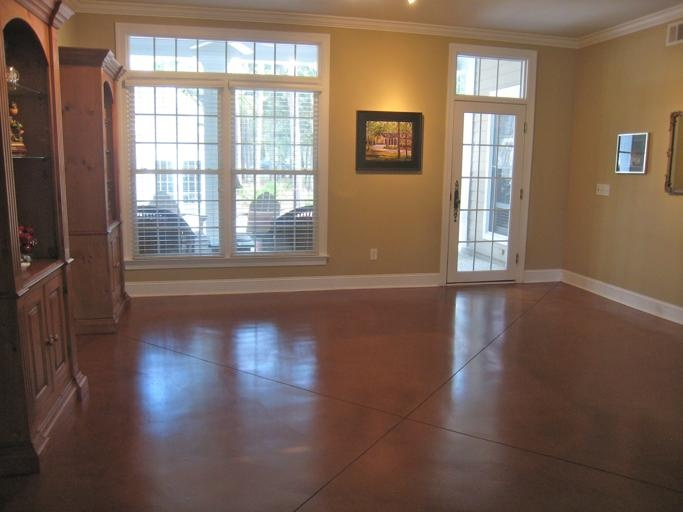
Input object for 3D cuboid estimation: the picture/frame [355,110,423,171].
[{"bbox_3d":[0.505,-1.354,6.140,0.680,0.598,0.056,-1,9,-8],"label":"picture/frame"}]
